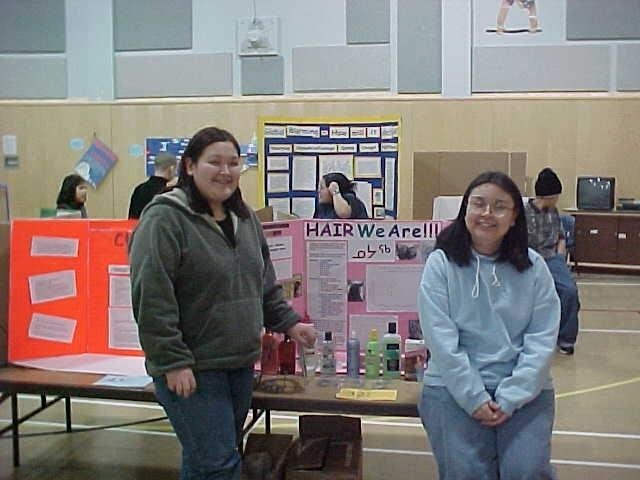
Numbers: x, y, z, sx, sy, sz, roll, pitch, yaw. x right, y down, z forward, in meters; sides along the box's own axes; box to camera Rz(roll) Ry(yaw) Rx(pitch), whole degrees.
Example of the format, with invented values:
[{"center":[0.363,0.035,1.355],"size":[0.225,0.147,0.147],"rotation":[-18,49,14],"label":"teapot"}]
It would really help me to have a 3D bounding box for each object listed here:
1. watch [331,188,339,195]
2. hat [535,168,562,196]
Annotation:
[{"center":[0.135,-0.415,5.275],"size":[0.065,0.043,0.048],"rotation":[-2,7,-2],"label":"watch"},{"center":[1.989,-0.510,5.347],"size":[0.178,0.256,0.250],"rotation":[3,14,32],"label":"hat"}]
